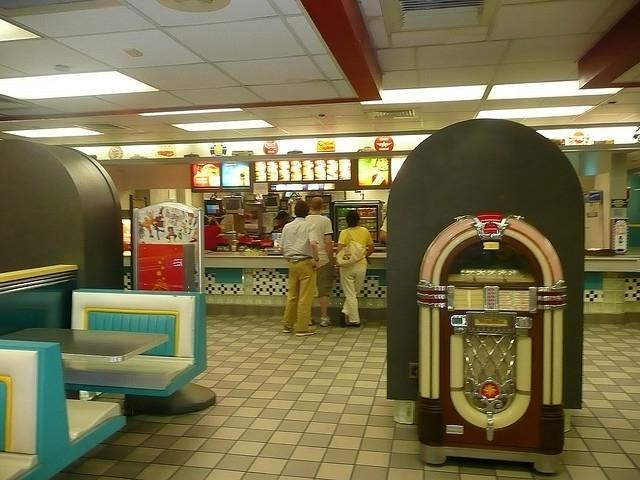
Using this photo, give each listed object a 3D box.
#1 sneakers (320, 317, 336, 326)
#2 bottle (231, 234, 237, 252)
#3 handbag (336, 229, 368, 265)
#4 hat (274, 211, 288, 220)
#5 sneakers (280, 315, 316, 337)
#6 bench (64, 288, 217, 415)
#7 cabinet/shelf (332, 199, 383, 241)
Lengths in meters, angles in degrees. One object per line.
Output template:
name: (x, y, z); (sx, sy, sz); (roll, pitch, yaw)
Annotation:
sneakers: (0.099, 1.254, 7.389); (0.106, 0.085, 0.242); (3, 6, 16)
bottle: (-1.537, 0.057, 8.502); (0.123, 0.297, 0.208); (-4, 7, -16)
handbag: (0.491, 0.110, 7.079); (0.742, 0.593, 0.383); (-1, 0, -6)
hat: (-0.685, -0.432, 8.464); (0.336, 0.114, 0.387); (1, 1, -10)
sneakers: (-0.256, 1.270, 6.999); (0.206, 0.179, 0.501); (5, 7, 20)
bench: (-1.620, 1.019, 4.457); (1.407, 0.761, 1.276); (0, -3, 2)
cabinet/shelf: (0.812, -0.399, 9.874); (1.433, 1.015, 0.852); (-1, -2, 1)
